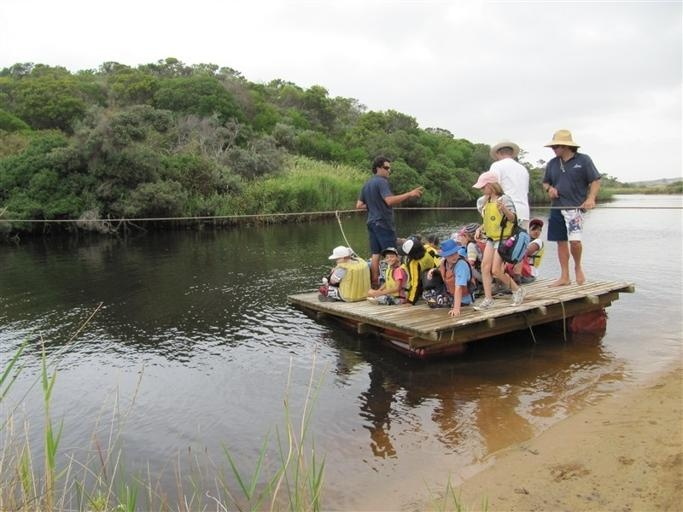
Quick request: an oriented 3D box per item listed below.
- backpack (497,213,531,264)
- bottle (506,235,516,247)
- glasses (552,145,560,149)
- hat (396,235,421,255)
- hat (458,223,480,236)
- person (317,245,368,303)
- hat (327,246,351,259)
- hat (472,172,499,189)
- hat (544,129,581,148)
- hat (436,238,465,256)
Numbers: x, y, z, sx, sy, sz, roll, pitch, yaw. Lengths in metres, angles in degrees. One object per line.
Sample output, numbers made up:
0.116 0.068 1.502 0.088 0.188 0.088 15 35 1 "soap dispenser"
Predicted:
2.837 -0.222 8.862 0.346 0.649 0.454 10 -8 41 "backpack"
2.730 -0.248 8.657 0.162 0.167 0.060 -3 10 -15 "bottle"
3.941 -2.002 9.852 0.050 0.076 0.040 1 31 -3 "glasses"
1.216 -0.177 9.762 0.277 0.259 0.430 -20 32 -29 "hat"
2.415 -0.542 10.363 0.277 0.187 0.340 -10 8 -44 "hat"
0.214 0.238 11.125 0.978 1.133 1.004 -10 16 -29 "person"
-0.050 -0.039 10.768 0.408 0.188 0.304 -3 14 14 "hat"
2.392 -1.275 8.963 0.435 0.243 0.300 -12 5 -12 "hat"
3.999 -2.106 9.661 0.430 0.291 0.334 3 10 23 "hat"
1.819 -0.156 8.936 0.370 0.290 0.290 -1 9 -4 "hat"
